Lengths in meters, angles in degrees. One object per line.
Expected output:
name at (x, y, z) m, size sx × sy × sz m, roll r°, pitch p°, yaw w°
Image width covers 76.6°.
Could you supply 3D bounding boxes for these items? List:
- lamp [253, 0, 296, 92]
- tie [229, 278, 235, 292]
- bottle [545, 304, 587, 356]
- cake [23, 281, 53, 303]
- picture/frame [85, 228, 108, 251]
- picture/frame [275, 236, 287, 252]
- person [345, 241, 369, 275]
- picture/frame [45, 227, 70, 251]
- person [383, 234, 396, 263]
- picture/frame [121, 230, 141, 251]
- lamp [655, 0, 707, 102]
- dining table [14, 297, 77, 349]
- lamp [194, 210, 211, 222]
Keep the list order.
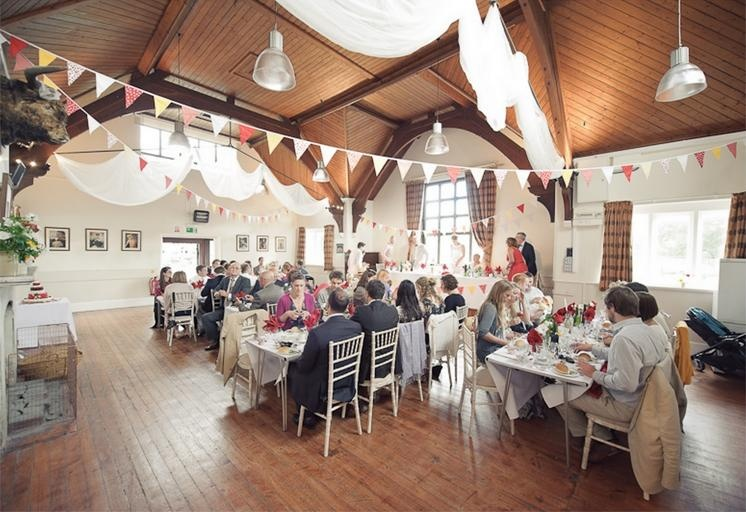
lamp at (-1.247, -2.554, 5.944) m, size 0.496 × 0.832 × 0.283 m, roll -2°, pitch 2°, yaw -14°
tie at (-2.614, 0.537, 8.759) m, size 0.165 × 0.237 × 0.059 m, roll -8°, pitch 15°, yaw -20°
bottle at (2.603, 1.024, 6.354) m, size 0.217 × 0.253 × 0.620 m, roll 27°, pitch -49°, yaw -23°
cake at (-6.016, 0.650, 8.451) m, size 0.461 × 0.266 × 0.483 m, roll 1°, pitch 2°, yaw 23°
picture/frame at (-6.860, -0.420, 11.670) m, size 0.039 × 0.606 × 0.495 m, roll 0°, pitch -5°, yaw 42°
picture/frame at (-3.030, -0.412, 15.397) m, size 0.031 × 0.478 × 0.465 m, roll 4°, pitch -3°, yaw 37°
person at (-0.464, 0.077, 12.844) m, size 0.374 × 1.056 × 0.720 m, roll -3°, pitch 14°, yaw -31°
picture/frame at (-7.439, -0.418, 11.087) m, size 0.047 × 0.786 × 0.640 m, roll -5°, pitch -3°, yaw 35°
person at (0.465, -0.195, 13.426) m, size 0.374 × 0.741 × 0.174 m, roll 14°, pitch -16°, yaw -29°
picture/frame at (-6.267, -0.419, 12.186) m, size 0.045 × 0.646 × 0.525 m, roll -2°, pitch -2°, yaw 45°
lamp at (4.308, -2.991, 6.653) m, size 0.553 × 1.753 × 1.719 m, roll 0°, pitch 2°, yaw 31°
dining table at (-5.031, 0.989, 7.286) m, size 0.885 × 0.687 × 0.872 m, roll 2°, pitch -5°, yaw -45°
lamp at (-4.818, -1.133, 13.298) m, size 0.375 × 0.396 × 0.290 m, roll 2°, pitch 8°, yaw -15°
